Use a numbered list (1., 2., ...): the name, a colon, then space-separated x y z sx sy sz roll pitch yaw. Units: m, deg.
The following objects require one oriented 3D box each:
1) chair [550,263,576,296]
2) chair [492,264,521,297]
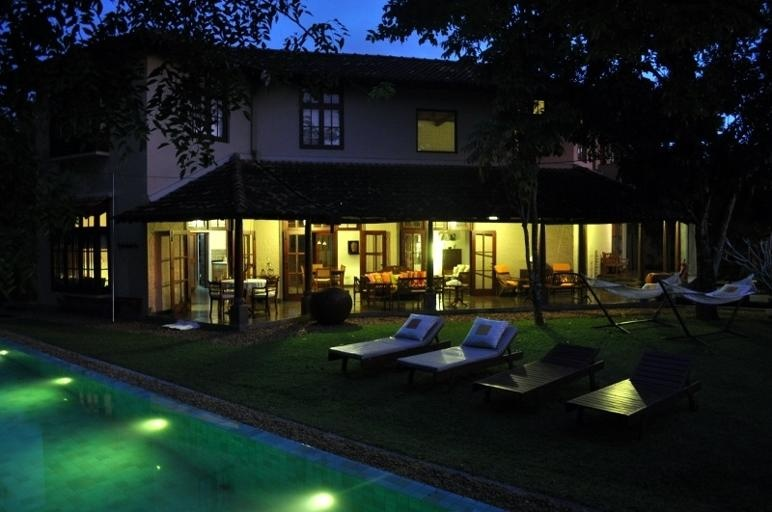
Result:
1. chair: 7.078 0.908 24.711 1.147 1.027 1.652 0 -3 -5
2. chair: 5.209 1.034 25.725 0.918 1.275 1.239 -2 4 -22
